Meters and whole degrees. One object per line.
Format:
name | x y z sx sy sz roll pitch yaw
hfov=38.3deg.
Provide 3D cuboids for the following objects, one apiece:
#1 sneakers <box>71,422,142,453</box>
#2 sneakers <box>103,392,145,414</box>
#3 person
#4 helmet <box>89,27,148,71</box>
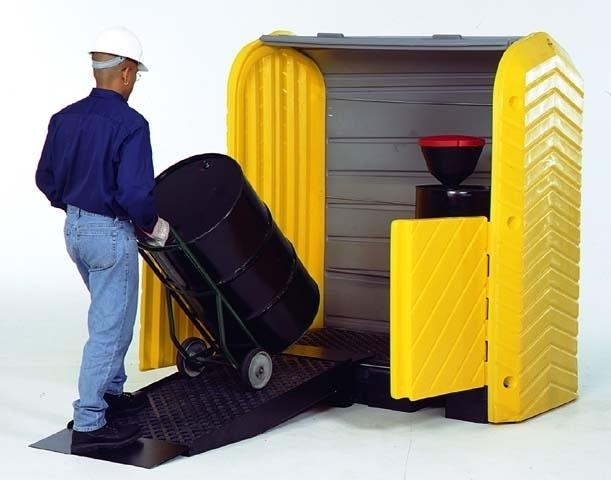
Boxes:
sneakers | -1.204 1.185 5.269 0.350 0.153 0.170 -9 20 -14
sneakers | -1.159 1.024 5.570 0.239 0.098 0.101 -6 20 -14
person | -1.180 -0.008 5.258 0.688 2.461 0.580 -3 11 -15
helmet | -1.131 -1.150 5.291 0.374 0.203 0.270 6 -1 -11
